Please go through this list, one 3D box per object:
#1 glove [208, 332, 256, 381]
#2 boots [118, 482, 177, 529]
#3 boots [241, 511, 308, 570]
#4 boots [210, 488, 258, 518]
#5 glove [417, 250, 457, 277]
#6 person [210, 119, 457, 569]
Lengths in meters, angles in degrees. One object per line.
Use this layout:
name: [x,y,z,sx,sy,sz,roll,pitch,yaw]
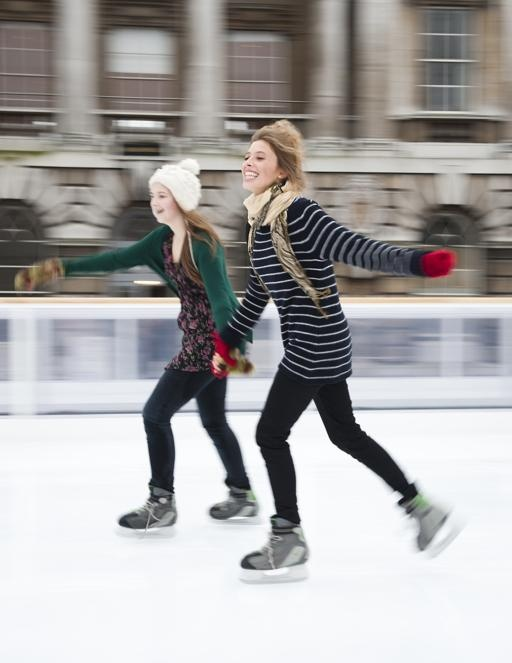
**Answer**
glove: [-0.100,0.107,3.509,0.190,0.115,0.079,11,26,19]
boots: [-0.391,0.664,3.599,0.265,0.144,0.081,-7,-11,14]
boots: [0.024,0.714,3.182,0.327,0.189,0.117,9,-10,-44]
boots: [-0.080,0.677,3.742,0.203,0.108,0.085,3,-23,-4]
glove: [0.540,-0.209,2.909,0.116,0.086,0.075,-4,12,0]
person: [0.241,0.036,3.219,0.846,1.493,0.638,1,10,3]
